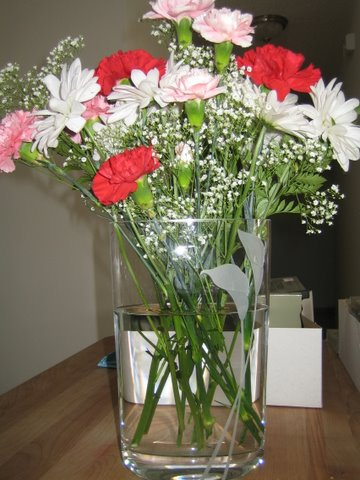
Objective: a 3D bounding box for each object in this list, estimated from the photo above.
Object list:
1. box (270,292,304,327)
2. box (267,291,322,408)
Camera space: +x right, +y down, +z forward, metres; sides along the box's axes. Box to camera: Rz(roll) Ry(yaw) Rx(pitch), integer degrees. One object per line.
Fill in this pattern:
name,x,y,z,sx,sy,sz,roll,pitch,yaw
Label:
box,0.190,0.131,0.741,0.043,0.073,0.043,4,-19,2
box,0.176,0.191,0.669,0.108,0.136,0.194,0,2,9
